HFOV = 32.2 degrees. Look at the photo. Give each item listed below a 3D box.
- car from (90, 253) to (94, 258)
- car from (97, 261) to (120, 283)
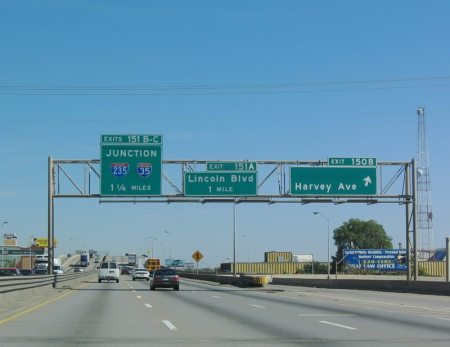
[{"bbox_3d":[-38.396,23.701,223.736,1.280,1.006,2.163,1,0,-7],"label":"car"},{"bbox_3d":[-10.764,8.926,71.884,1.339,1.308,2.494,1,1,-6],"label":"car"}]
